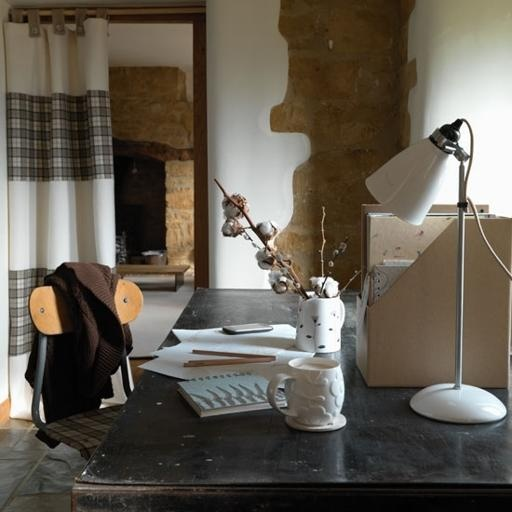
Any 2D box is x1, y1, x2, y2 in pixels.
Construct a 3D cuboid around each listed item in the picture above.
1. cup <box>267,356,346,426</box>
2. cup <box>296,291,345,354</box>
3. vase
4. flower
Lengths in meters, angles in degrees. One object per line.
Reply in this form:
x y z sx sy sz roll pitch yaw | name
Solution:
0.085 0.201 0.928 0.116 0.100 0.080 -5 5 -40 | cup
0.137 0.151 1.252 0.077 0.125 0.120 0 -2 40 | cup
0.138 0.153 1.251 0.077 0.126 0.120 1 -1 41 | vase
0.132 -0.092 2.263 0.273 0.414 0.186 -21 30 27 | flower
